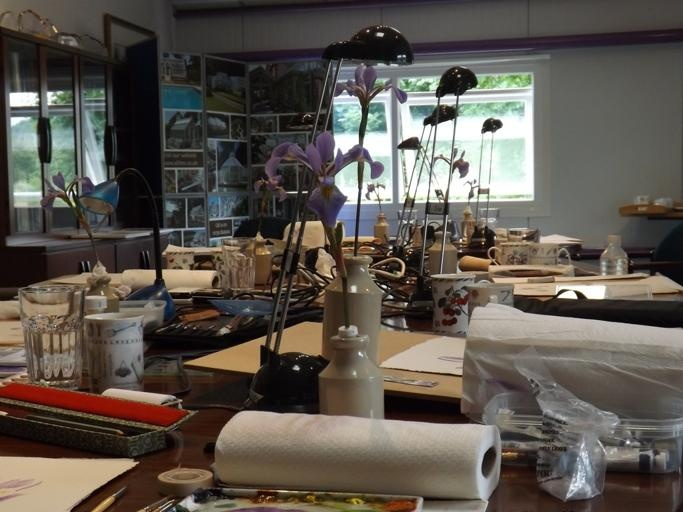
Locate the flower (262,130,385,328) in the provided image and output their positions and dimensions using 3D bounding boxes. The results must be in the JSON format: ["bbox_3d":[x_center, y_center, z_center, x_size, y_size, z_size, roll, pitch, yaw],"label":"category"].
[{"bbox_3d":[-0.017,-0.038,0.877,0.173,0.285,0.248,-3,10,-4],"label":"flower"}]

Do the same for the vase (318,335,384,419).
[{"bbox_3d":[0.012,0.151,0.754,0.082,0.117,0.072,-3,10,-3],"label":"vase"}]

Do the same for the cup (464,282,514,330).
[{"bbox_3d":[0.314,0.103,1.310,0.093,0.093,0.127,0,-2,9],"label":"cup"}]

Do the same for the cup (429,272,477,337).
[{"bbox_3d":[0.251,0.110,1.406,0.127,0.174,0.119,0,4,0],"label":"cup"}]

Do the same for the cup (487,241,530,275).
[{"bbox_3d":[0.603,0.008,2.193,0.134,0.097,0.076,1,10,23],"label":"cup"}]

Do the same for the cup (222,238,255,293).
[{"bbox_3d":[-0.352,0.029,2.071,0.104,0.163,0.224,-3,10,-3],"label":"cup"}]

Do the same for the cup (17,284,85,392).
[{"bbox_3d":[-0.489,0.134,1.049,0.103,0.170,0.136,-8,12,-28],"label":"cup"}]
